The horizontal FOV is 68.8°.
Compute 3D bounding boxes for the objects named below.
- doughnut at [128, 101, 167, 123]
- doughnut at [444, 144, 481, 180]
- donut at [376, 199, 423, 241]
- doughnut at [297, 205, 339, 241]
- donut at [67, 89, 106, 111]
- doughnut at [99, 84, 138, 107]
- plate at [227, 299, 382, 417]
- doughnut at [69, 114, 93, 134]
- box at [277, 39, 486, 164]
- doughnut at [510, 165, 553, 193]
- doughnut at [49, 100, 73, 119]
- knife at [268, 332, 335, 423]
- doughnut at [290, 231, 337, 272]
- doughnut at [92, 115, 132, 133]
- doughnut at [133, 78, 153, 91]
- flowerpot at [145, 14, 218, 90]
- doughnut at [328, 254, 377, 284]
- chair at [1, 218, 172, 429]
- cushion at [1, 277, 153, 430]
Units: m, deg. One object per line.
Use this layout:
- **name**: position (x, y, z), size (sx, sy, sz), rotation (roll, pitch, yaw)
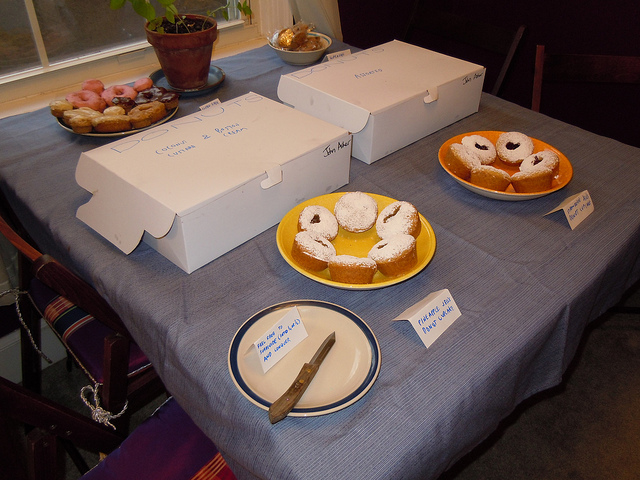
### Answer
- **doughnut**: position (-0.501, -0.381, 1.353), size (0.082, 0.029, 0.062), rotation (-25, 43, -26)
- **doughnut**: position (0.367, -0.204, 1.259), size (0.084, 0.054, 0.088), rotation (-12, 55, -42)
- **donut**: position (0.173, -0.044, 1.034), size (0.082, 0.045, 0.088), rotation (-24, 42, 10)
- **doughnut**: position (-0.001, -0.042, 1.042), size (0.078, 0.024, 0.079), rotation (43, 48, 19)
- **donut**: position (-0.704, -0.434, 1.428), size (0.078, 0.028, 0.083), rotation (3, 41, -22)
- **doughnut**: position (-0.622, -0.458, 1.451), size (0.086, 0.035, 0.093), rotation (0, 39, -10)
- **plate**: position (-0.028, 0.205, 0.856), size (0.273, 0.047, 0.224), rotation (-6, 52, -4)
- **doughnut**: position (-0.671, -0.327, 1.315), size (0.048, 0.032, 0.057), rotation (3, 36, -6)
- **box**: position (0.238, -0.524, 1.348), size (0.499, 0.153, 0.384), rotation (-32, 51, -33)
- **doughnut**: position (0.516, -0.146, 1.139), size (0.067, 0.040, 0.076), rotation (-17, 27, 10)
- **doughnut**: position (-0.767, -0.393, 1.387), size (0.052, 0.031, 0.060), rotation (4, 40, -12)
- **knife**: position (-0.020, 0.238, 0.855), size (0.040, 0.022, 0.270), rotation (11, 39, 21)
- **doughnut**: position (-0.013, 0.021, 0.998), size (0.090, 0.062, 0.081), rotation (38, 60, 26)
- **doughnut**: position (-0.583, -0.326, 1.310), size (0.059, 0.024, 0.064), rotation (12, 30, 20)
- **doughnut**: position (-0.567, -0.505, 1.508), size (0.046, 0.017, 0.051), rotation (6, 45, 6)
- **flowerpot**: position (-0.444, -0.618, 1.536), size (0.218, 0.195, 0.238), rotation (1, 39, -6)
- **doughnut**: position (0.070, 0.061, 0.991), size (0.100, 0.059, 0.108), rotation (2, 0, 19)
- **chair**: position (-0.561, 0.199, 1.139), size (0.284, 0.489, 0.343), rotation (41, 57, 17)
- **cushion**: position (-0.649, 0.256, 1.327), size (0.395, 0.104, 0.423), rotation (42, 34, 12)
